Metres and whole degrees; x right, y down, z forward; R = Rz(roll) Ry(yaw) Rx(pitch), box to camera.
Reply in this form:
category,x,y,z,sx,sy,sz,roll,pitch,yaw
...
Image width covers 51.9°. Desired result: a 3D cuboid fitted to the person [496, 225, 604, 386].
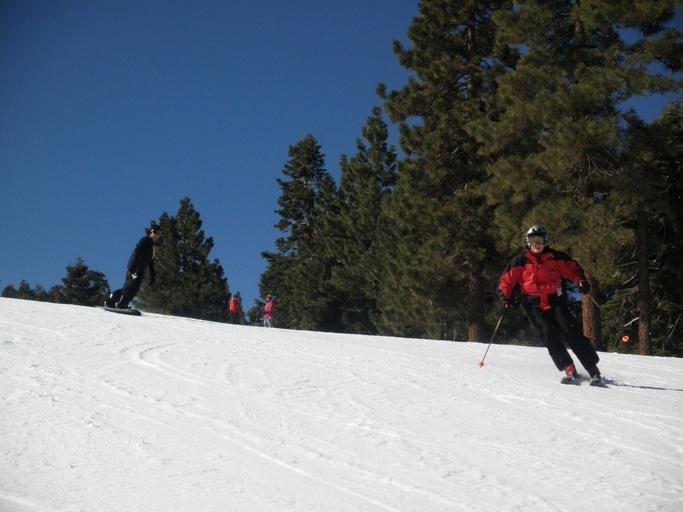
category,x,y,z,sx,sy,sz,roll,pitch,yaw
person,3.322,0.836,11.391,1.245,2.902,0.823,-9,-41,7

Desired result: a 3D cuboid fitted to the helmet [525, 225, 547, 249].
category,x,y,z,sx,sy,sz,roll,pitch,yaw
helmet,3.163,-0.345,11.423,0.332,0.461,0.504,-2,-18,10

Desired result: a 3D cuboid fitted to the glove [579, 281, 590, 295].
category,x,y,z,sx,sy,sz,roll,pitch,yaw
glove,3.815,0.487,11.043,0.173,0.202,0.323,4,10,19
